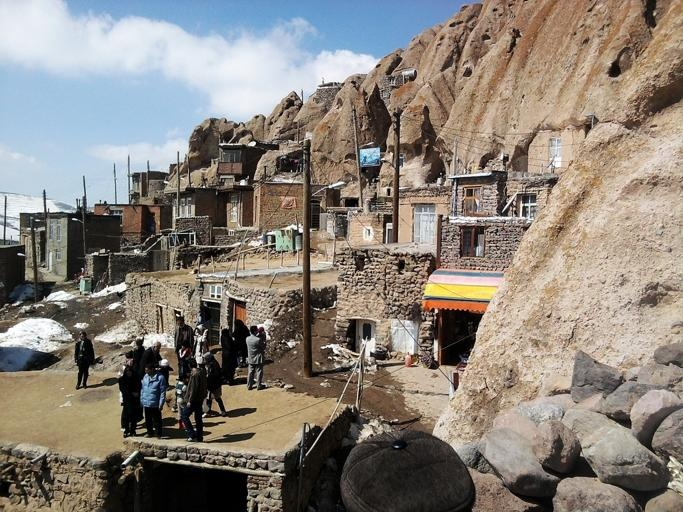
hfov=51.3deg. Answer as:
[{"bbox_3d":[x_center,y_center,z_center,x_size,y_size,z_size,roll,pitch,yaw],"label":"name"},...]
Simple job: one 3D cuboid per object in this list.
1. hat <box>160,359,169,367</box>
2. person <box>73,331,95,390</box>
[{"bbox_3d":[-3.613,2.189,14.529,0.132,0.119,0.182,3,8,12],"label":"hat"},{"bbox_3d":[-6.314,2.514,17.474,0.400,1.307,1.375,1,-1,-21],"label":"person"}]
